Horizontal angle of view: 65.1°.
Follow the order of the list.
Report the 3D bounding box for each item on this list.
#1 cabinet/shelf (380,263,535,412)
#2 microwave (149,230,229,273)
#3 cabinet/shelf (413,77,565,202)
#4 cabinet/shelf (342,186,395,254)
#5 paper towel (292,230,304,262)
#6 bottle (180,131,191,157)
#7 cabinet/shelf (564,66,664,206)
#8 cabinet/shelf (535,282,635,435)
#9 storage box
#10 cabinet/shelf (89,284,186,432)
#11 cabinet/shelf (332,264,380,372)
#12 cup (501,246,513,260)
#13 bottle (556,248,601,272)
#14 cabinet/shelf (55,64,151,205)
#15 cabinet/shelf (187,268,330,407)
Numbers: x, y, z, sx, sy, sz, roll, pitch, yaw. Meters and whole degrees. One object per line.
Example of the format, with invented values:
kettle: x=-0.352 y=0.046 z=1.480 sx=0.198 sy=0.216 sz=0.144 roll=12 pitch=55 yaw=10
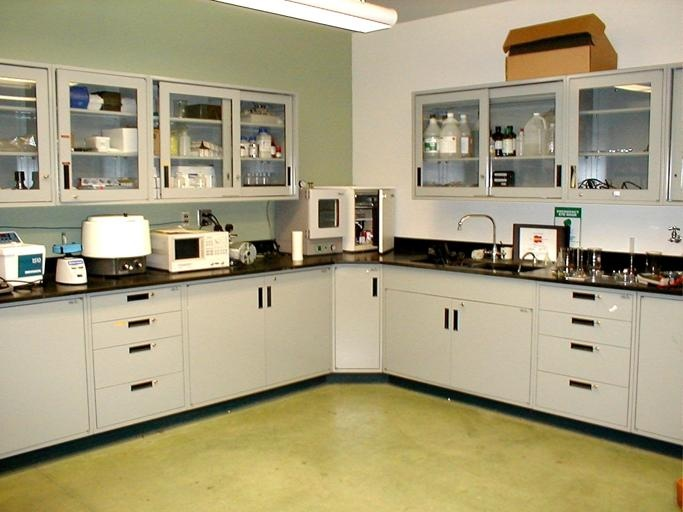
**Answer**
cabinet/shelf: x=1.137 y=0.597 z=4.530 sx=1.423 sy=0.998 sz=0.768 roll=4 pitch=6 yaw=43
microwave: x=-1.190 y=-0.035 z=4.141 sx=0.620 sy=0.289 sz=0.273 roll=-3 pitch=11 yaw=-16
cabinet/shelf: x=1.345 y=-0.956 z=4.551 sx=0.491 sy=0.951 sz=1.482 roll=-12 pitch=15 yaw=-34
cabinet/shelf: x=0.257 y=-0.344 z=5.171 sx=0.535 sy=0.596 sz=0.538 roll=-3 pitch=5 yaw=-21
paper towel: x=-0.382 y=-0.082 z=4.674 sx=0.105 sy=0.227 sz=0.324 roll=-1 pitch=10 yaw=-4
bottle: x=-1.250 y=-0.903 z=4.270 sx=0.053 sy=0.201 sz=0.133 roll=4 pitch=11 yaw=21
cabinet/shelf: x=1.920 y=-0.796 z=3.736 sx=0.613 sy=0.859 sz=0.301 roll=2 pitch=7 yaw=31
cabinet/shelf: x=1.856 y=0.682 z=3.899 sx=0.691 sy=0.942 sz=0.571 roll=3 pitch=2 yaw=39
storage box: x=1.698 y=-1.595 z=4.161 sx=0.680 sy=0.395 sz=0.517 roll=8 pitch=20 yaw=42
cabinet/shelf: x=-1.562 y=0.699 z=3.915 sx=0.659 sy=0.926 sz=0.520 roll=-5 pitch=6 yaw=-39
cabinet/shelf: x=0.056 y=0.556 z=4.917 sx=0.466 sy=0.925 sz=0.530 roll=1 pitch=-4 yaw=-15
cup: x=1.417 y=-0.022 z=4.593 sx=0.073 sy=0.094 sz=0.116 roll=3 pitch=4 yaw=33
bottle: x=1.830 y=0.020 z=4.114 sx=0.308 sy=0.149 sz=0.405 roll=4 pitch=11 yaw=25
cabinet/shelf: x=-1.697 y=-0.826 z=3.822 sx=0.629 sy=0.861 sz=0.301 roll=-4 pitch=12 yaw=-31
cabinet/shelf: x=-0.849 y=0.611 z=4.569 sx=1.434 sy=0.981 sz=0.745 roll=-4 pitch=6 yaw=-41
